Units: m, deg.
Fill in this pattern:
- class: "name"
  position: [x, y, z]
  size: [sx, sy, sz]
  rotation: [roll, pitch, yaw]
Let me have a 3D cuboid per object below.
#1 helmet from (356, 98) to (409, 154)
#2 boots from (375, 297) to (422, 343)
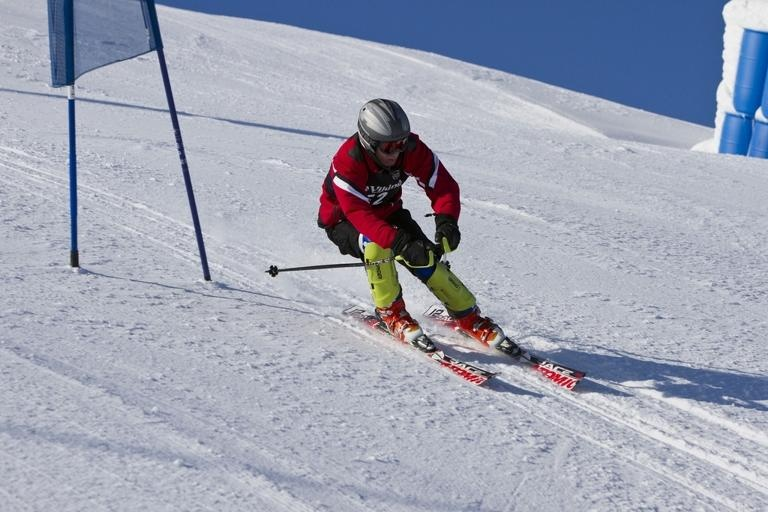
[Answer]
- class: "helmet"
  position: [-0.011, -1.258, 8.210]
  size: [0.552, 0.439, 0.598]
  rotation: [-17, 36, -25]
- class: "boots"
  position: [0.132, 0.645, 8.478]
  size: [0.630, 0.358, 0.197]
  rotation: [21, 62, 39]
